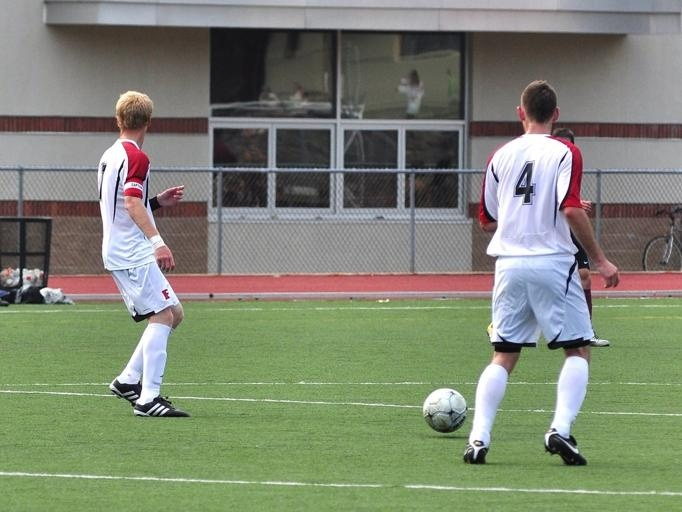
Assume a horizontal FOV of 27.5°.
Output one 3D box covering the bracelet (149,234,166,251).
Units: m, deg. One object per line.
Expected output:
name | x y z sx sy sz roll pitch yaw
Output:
bracelet | -1.970 -0.155 15.081 0.151 0.165 0.162 -35 15 -35

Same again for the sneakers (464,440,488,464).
sneakers | 1.337 1.977 14.000 0.136 0.157 0.343 4 -1 7

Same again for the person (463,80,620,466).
person | 1.924 0.152 14.162 1.356 3.780 0.863 -2 9 -4

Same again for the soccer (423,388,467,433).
soccer | 1.147 1.666 14.835 0.454 0.461 0.446 -28 -28 35

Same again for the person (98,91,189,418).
person | -2.175 -0.011 15.236 0.812 3.510 0.914 -5 10 -21
